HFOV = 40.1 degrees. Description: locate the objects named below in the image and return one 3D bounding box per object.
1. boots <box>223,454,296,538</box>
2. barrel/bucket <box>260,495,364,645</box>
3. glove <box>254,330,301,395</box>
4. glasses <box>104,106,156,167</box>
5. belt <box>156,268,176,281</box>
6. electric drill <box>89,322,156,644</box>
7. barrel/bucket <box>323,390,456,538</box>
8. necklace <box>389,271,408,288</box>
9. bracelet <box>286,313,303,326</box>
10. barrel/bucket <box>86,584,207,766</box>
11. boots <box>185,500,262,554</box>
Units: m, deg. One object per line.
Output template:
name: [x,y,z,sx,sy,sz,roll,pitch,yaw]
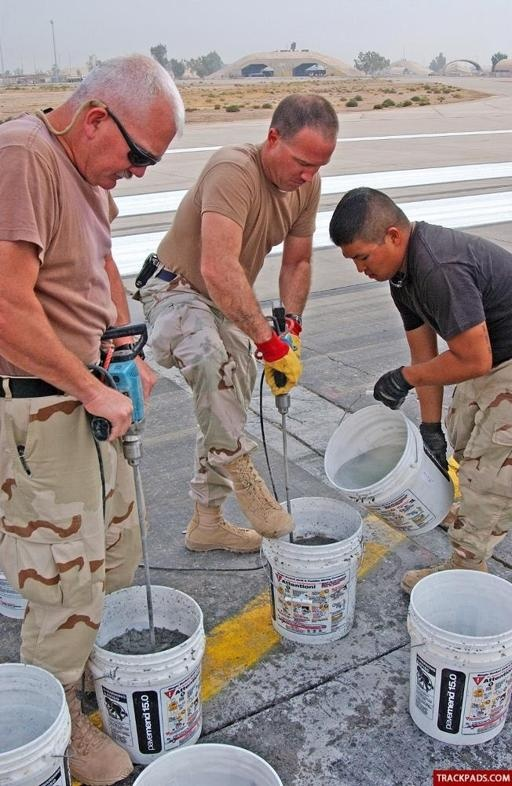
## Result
boots: [0.001,0.399,2.788,0.134,0.261,0.376,-27,42,-19]
barrel/bucket: [0.207,0.670,2.609,0.380,0.395,0.395,-2,30,1]
glove: [0.095,-0.136,2.790,0.157,0.277,0.325,-1,18,2]
glasses: [-0.315,-0.691,1.899,0.092,0.147,0.185,4,19,16]
belt: [-0.381,-0.499,2.953,0.082,0.048,0.023,32,15,32]
electric drill: [-0.362,0.257,1.971,0.124,0.283,0.880,-21,54,25]
barrel/bucket: [0.519,0.304,2.815,0.567,0.564,0.585,-1,19,0]
necklace: [0.548,-0.435,2.686,0.037,0.046,0.044,7,-11,10]
bracelet: [0.162,-0.324,3.089,0.065,0.035,0.046,8,29,-46]
barrel/bucket: [-0.326,0.833,2.192,0.361,0.519,0.364,-1,21,0]
boots: [-0.129,0.615,3.217,0.373,0.221,0.122,4,15,-7]
